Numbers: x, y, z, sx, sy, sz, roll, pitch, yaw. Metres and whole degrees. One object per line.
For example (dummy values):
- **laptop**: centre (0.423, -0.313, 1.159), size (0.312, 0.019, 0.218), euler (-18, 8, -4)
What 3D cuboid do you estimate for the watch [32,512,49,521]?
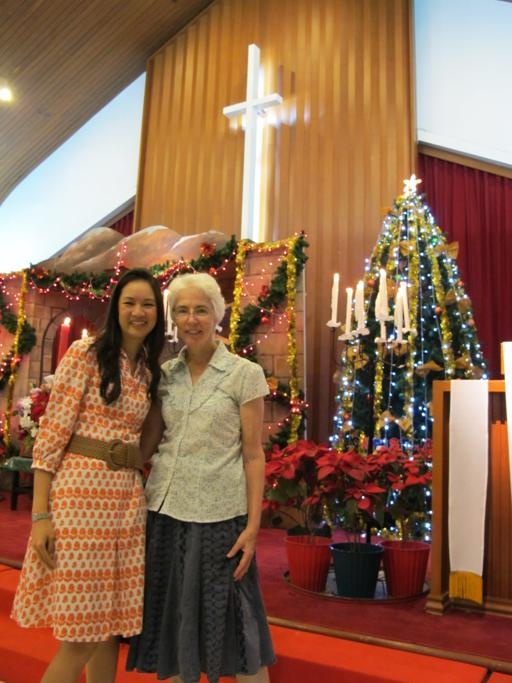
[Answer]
- **watch**: centre (-0.475, 0.381, 1.385), size (0.022, 0.012, 0.023), euler (-1, -2, 0)

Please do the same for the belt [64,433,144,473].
- **belt**: centre (-0.364, 0.249, 1.481), size (0.107, 0.042, 0.104), euler (0, -15, 29)

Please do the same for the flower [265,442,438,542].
- **flower**: centre (0.345, 0.600, 2.883), size (0.774, 0.474, 0.756), euler (3, -10, -12)
